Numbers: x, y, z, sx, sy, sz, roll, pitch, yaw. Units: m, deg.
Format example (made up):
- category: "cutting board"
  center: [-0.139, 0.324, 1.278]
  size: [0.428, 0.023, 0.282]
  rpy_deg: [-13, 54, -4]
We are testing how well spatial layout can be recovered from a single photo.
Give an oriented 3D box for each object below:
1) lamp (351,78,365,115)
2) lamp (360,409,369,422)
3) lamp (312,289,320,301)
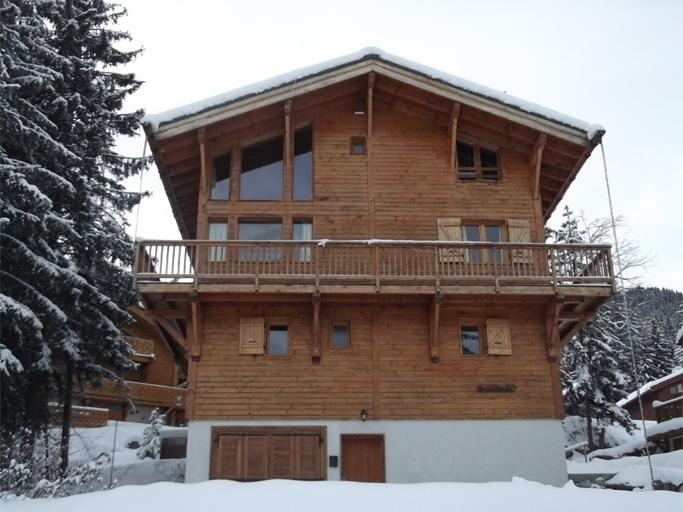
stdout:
- category: "lamp"
  center: [0.605, -5.340, 22.292]
  size: [0.462, 0.787, 0.345]
  rpy_deg: [0, -19, -1]
- category: "lamp"
  center: [0.685, 4.713, 19.160]
  size: [0.260, 0.363, 0.206]
  rpy_deg: [-1, -19, 2]
- category: "lamp"
  center: [-0.735, 1.168, 19.271]
  size: [0.170, 0.324, 0.297]
  rpy_deg: [4, -37, 1]
